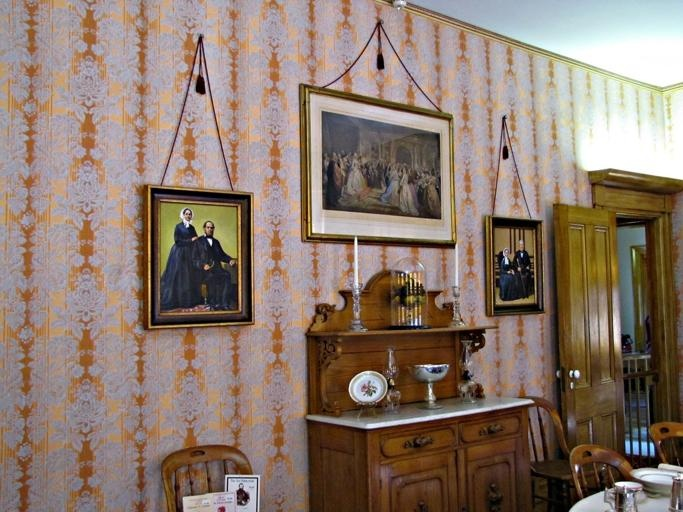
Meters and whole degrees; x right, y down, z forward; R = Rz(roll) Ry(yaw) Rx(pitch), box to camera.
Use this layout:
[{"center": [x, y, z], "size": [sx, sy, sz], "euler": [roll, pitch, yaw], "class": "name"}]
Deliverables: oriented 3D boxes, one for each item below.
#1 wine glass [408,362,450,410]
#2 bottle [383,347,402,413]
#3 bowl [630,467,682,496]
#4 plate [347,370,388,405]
[{"center": [0.687, 1.004, 5.431], "size": [0.293, 0.334, 0.317], "euler": [0, -2, 0], "class": "wine glass"}, {"center": [0.376, 0.922, 5.249], "size": [0.112, 0.456, 0.367], "euler": [-2, -7, 4], "class": "bottle"}, {"center": [1.998, 1.421, 4.425], "size": [0.229, 0.058, 0.233], "euler": [-4, -4, 0], "class": "bowl"}, {"center": [0.202, 0.966, 5.097], "size": [0.286, 0.249, 0.151], "euler": [-2, -7, -2], "class": "plate"}]
